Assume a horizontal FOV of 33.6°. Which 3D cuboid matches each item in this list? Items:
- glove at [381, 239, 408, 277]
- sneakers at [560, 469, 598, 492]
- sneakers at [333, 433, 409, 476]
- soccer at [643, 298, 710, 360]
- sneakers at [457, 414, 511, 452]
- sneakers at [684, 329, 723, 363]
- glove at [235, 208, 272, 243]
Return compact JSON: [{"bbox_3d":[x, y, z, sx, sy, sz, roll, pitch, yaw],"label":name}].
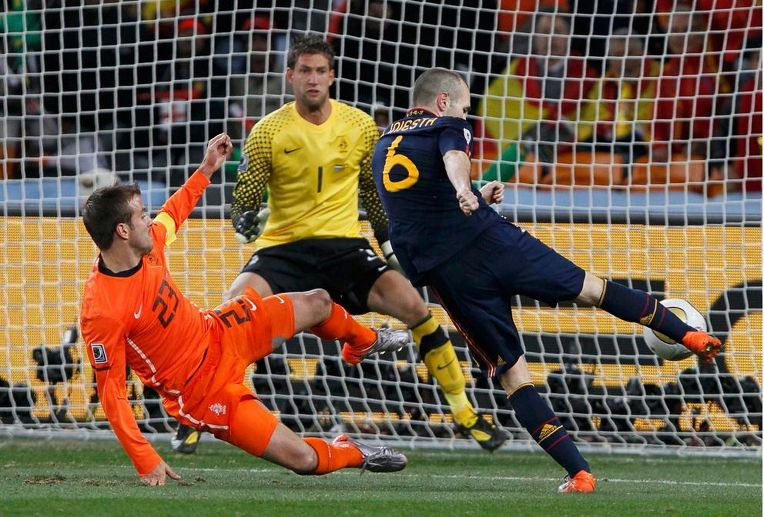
[{"bbox_3d":[0.076,-0.022,9.128,0.084,0.219,0.225,-36,2,14],"label":"glove"},{"bbox_3d":[1.260,1.417,8.085,0.208,0.081,0.134,-11,-10,39],"label":"sneakers"},{"bbox_3d":[-0.082,1.290,8.303,0.529,0.195,0.209,8,-25,-9],"label":"sneakers"},{"bbox_3d":[2.019,0.488,8.666,0.459,0.443,0.416,7,17,37],"label":"soccer"},{"bbox_3d":[0.729,1.203,8.844,0.396,0.189,0.173,29,-18,20],"label":"sneakers"},{"bbox_3d":[2.055,0.558,8.097,0.220,0.094,0.162,21,2,-12],"label":"sneakers"},{"bbox_3d":[-0.861,-0.235,8.792,0.287,0.167,0.114,-42,-9,-11],"label":"glove"}]
